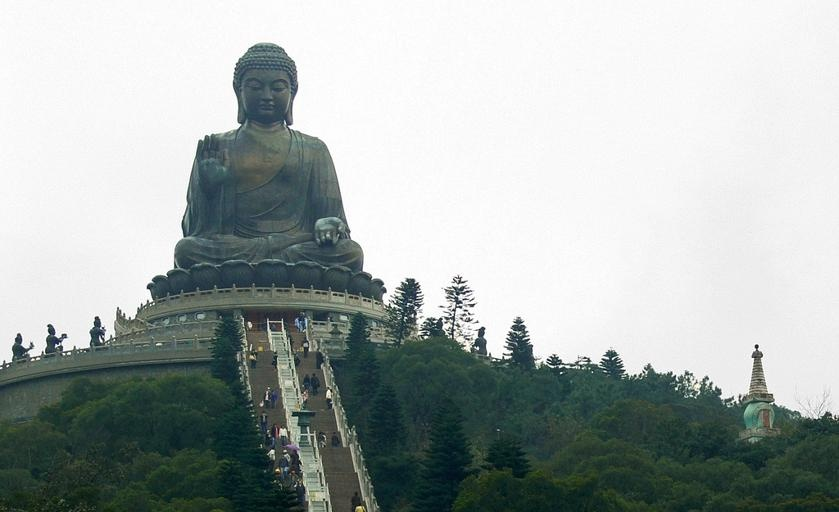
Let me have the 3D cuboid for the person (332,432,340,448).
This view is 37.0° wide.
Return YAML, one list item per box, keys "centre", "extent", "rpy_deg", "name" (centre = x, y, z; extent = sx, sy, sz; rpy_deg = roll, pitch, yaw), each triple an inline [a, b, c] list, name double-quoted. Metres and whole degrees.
- centre: [-3.224, 7.299, 50.216]
  extent: [0.335, 0.805, 0.519]
  rpy_deg: [-2, -32, 1]
  name: "person"
